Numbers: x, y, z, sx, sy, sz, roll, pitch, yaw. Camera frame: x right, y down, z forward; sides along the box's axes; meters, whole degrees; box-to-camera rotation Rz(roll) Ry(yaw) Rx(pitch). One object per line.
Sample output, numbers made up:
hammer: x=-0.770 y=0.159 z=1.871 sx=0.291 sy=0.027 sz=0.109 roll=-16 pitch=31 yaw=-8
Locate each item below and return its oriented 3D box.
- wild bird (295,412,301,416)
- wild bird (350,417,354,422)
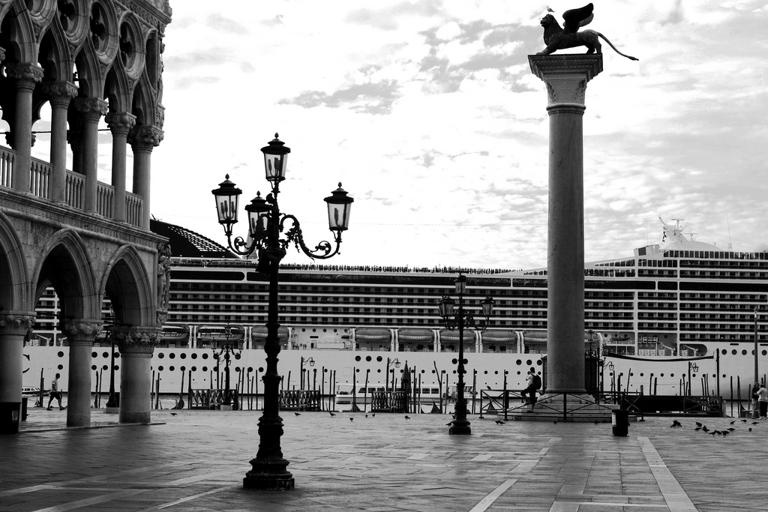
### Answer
wild bird: x=-4.354 y=7.871 z=78.899 sx=0.306 sy=0.137 sz=0.357 roll=0 pitch=-10 yaw=7
wild bird: x=-1.551 y=7.553 z=73.291 sx=0.201 sy=0.198 sz=0.197 roll=1 pitch=-2 yaw=21
